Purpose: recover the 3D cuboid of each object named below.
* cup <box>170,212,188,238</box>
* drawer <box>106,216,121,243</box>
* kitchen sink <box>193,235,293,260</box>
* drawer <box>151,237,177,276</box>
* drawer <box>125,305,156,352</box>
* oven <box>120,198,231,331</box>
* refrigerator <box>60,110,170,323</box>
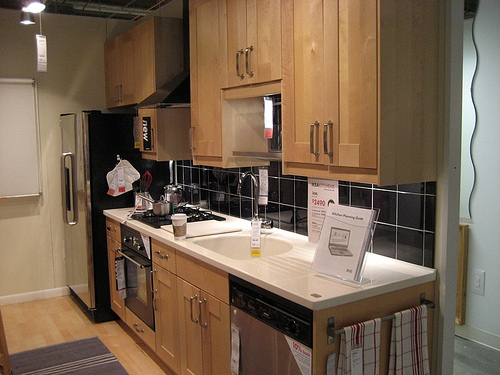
[{"bbox_3d":[-0.505,0.288,2.847,0.146,0.168,0.117,-3,0,8],"label":"cup"},{"bbox_3d":[-1.301,0.396,3.801,0.173,0.187,0.278,1,6,-36],"label":"drawer"},{"bbox_3d":[-0.064,0.436,2.919,0.298,0.158,0.353,-2,5,-34],"label":"kitchen sink"},{"bbox_3d":[-0.658,0.511,2.989,0.032,0.199,0.428,-6,10,-36],"label":"drawer"},{"bbox_3d":[-1.037,1.226,3.590,0.370,0.065,0.368,42,-24,11],"label":"drawer"},{"bbox_3d":[-0.677,0.765,3.467,0.614,1.019,0.877,-7,6,-39],"label":"oven"},{"bbox_3d":[-1.793,0.249,4.493,0.880,2.125,1.072,-3,0,17],"label":"refrigerator"}]
